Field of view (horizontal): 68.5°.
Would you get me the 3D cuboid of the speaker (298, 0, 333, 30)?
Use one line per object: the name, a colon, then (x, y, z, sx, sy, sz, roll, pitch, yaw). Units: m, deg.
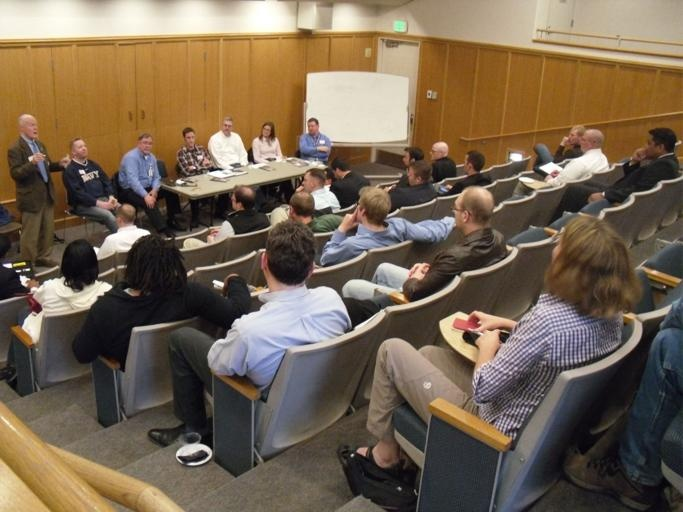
speaker: (-0.558, -4.863, 10.200, 0.719, 0.529, 0.309, -4, 20, -6)
